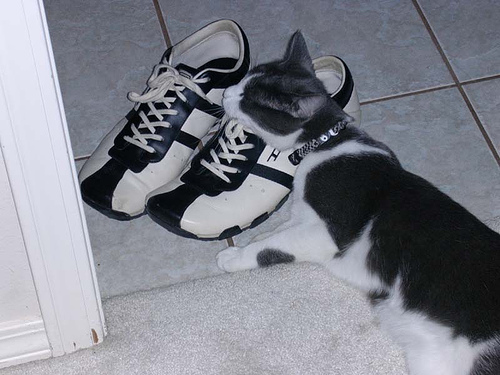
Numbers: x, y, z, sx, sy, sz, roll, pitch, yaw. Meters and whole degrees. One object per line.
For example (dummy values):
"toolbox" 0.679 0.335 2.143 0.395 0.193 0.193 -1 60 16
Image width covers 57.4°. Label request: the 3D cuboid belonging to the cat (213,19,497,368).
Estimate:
"cat" 0.249 0.034 1.111 0.874 0.512 0.264 34 69 13
